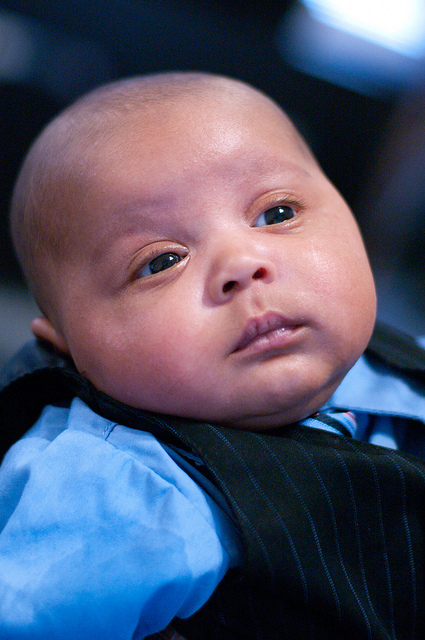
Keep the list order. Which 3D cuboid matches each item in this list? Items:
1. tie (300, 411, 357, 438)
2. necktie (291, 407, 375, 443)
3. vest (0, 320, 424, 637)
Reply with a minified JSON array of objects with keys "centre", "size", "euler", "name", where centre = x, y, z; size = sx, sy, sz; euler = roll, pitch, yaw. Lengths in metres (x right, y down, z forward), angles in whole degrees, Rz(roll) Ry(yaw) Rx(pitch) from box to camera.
[{"centre":[0.155,0.134,1.002],"size":[0.048,0.056,0.036],"euler":[0,97,10],"name":"tie"},{"centre":[0.178,0.144,1.020],"size":[0.073,0.078,0.022],"euler":[-12,64,16],"name":"necktie"},{"centre":[0.031,0.206,1.076],"size":[0.647,0.292,0.536],"euler":[-1,33,-18],"name":"vest"}]
